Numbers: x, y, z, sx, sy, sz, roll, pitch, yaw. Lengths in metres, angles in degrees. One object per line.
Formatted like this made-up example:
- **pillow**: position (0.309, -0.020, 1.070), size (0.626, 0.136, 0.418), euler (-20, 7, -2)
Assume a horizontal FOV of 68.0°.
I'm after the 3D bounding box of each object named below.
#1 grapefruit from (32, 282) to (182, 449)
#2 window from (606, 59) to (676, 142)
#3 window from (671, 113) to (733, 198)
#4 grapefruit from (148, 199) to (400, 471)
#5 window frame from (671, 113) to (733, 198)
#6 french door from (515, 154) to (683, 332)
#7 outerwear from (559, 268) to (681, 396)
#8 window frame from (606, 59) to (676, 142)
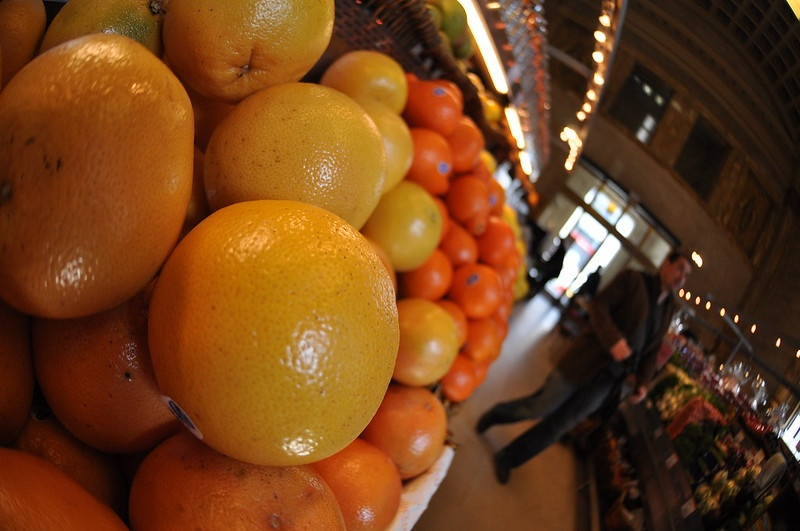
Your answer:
- **grapefruit**: position (-0.438, 0.139, 1.017), size (0.209, 0.224, 0.291), euler (-1, 95, -11)
- **window**: position (0.537, -0.363, 1.310), size (0.014, 0.160, 0.154), euler (-14, 68, -28)
- **window**: position (0.612, -0.215, 1.199), size (0.107, 0.096, 0.065), euler (42, 52, 16)
- **grapefruit**: position (-0.169, 0.085, 0.952), size (0.352, 0.393, 0.331), euler (9, 19, -44)
- **window frame**: position (0.610, -0.217, 1.198), size (0.031, 0.137, 0.129), euler (8, 26, -18)
- **french door**: position (0.459, -0.052, 1.351), size (0.016, 0.372, 0.376), euler (-1, 51, -39)
- **outerwear**: position (0.447, 0.137, 1.187), size (0.179, 0.129, 0.113), euler (-48, 41, 1)
- **window frame**: position (0.537, -0.363, 1.310), size (0.014, 0.160, 0.154), euler (-14, 68, -28)
